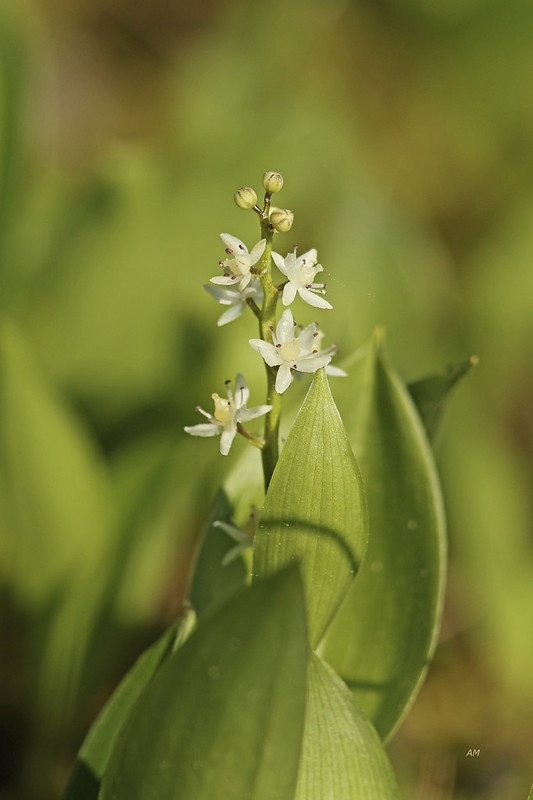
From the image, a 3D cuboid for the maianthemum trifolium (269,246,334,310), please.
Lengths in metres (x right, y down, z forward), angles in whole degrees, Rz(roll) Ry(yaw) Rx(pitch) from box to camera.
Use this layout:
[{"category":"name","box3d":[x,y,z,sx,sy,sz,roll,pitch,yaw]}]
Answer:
[{"category":"maianthemum trifolium","box3d":[0.076,-0.240,1.536,0.102,0.122,0.230,2,4,8]}]

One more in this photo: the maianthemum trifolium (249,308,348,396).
[{"category":"maianthemum trifolium","box3d":[0.050,-0.098,1.514,0.151,0.066,0.164,16,-15,-9]}]

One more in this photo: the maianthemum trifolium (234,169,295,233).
[{"category":"maianthemum trifolium","box3d":[-0.012,-0.368,1.498,0.096,0.110,0.210,1,4,-5]}]

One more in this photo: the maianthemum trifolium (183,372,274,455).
[{"category":"maianthemum trifolium","box3d":[-0.077,0.021,1.524,0.151,0.085,0.157,-12,23,44]}]

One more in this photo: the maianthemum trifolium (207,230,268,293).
[{"category":"maianthemum trifolium","box3d":[-0.048,-0.255,1.461,0.075,0.100,0.088,-1,5,-34]}]
